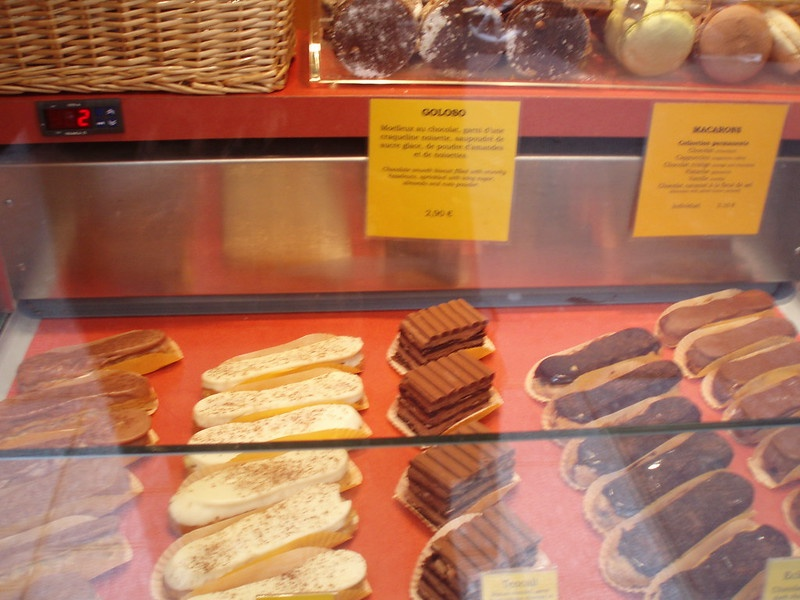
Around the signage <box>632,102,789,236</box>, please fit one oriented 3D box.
[{"bbox_3d":[0.571,-0.242,1.144,0.376,0.254,0.025,-5,9,-18],"label":"signage"}]

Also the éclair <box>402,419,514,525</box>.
[{"bbox_3d":[0.122,0.282,0.999,0.195,0.053,0.154,-27,40,-25],"label":"éclair"}]

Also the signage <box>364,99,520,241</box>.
[{"bbox_3d":[0.074,-0.244,1.096,0.365,0.267,0.027,2,43,0],"label":"signage"}]

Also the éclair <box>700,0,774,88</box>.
[{"bbox_3d":[0.564,-0.447,1.095,0.130,0.121,0.109,12,-10,7],"label":"éclair"}]
